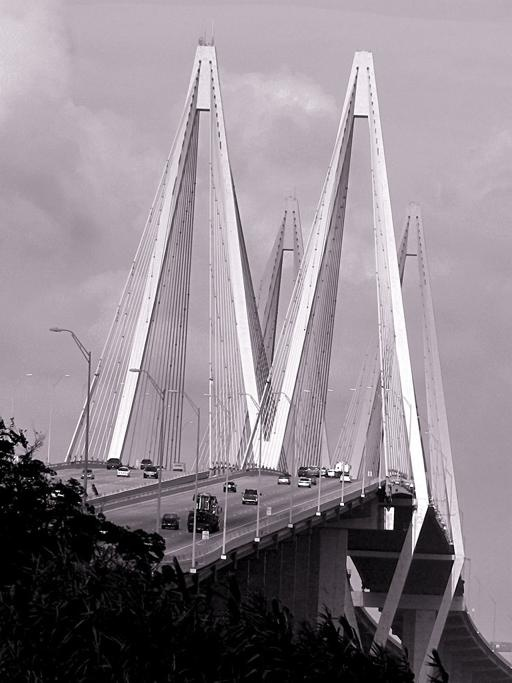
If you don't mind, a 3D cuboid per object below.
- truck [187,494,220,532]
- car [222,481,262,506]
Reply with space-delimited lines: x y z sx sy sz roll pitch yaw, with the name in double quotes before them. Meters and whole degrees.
"truck" -1.945 6.399 36.801 1.134 1.385 2.257 0 -4 3
"car" -0.478 7.251 47.092 1.281 1.093 3.011 2 -7 -4
